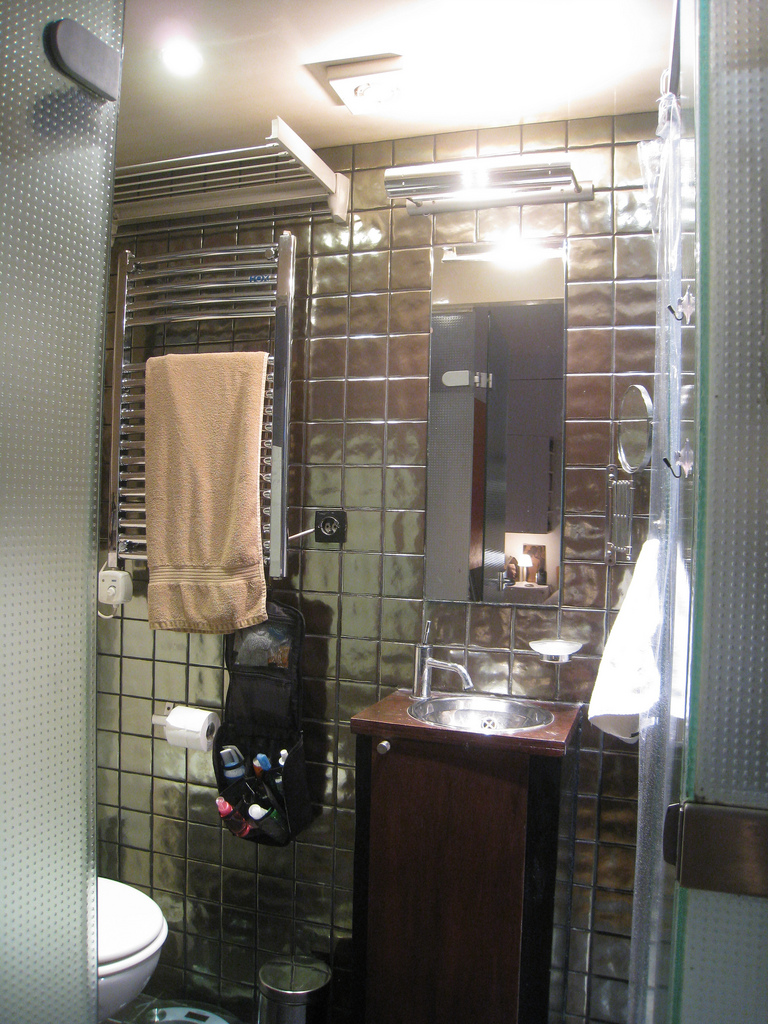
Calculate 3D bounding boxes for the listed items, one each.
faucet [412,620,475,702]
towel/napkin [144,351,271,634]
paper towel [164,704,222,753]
[{"bbox_3d":[0.139,0.357,2.107,0.141,0.200,0.044,10,19,24],"label":"faucet"},{"bbox_3d":[-0.434,-0.053,2.164,0.302,0.677,0.167,1,-5,-9],"label":"towel/napkin"},{"bbox_3d":[-0.492,0.543,2.304,0.124,0.123,0.099,0,12,35],"label":"paper towel"}]
